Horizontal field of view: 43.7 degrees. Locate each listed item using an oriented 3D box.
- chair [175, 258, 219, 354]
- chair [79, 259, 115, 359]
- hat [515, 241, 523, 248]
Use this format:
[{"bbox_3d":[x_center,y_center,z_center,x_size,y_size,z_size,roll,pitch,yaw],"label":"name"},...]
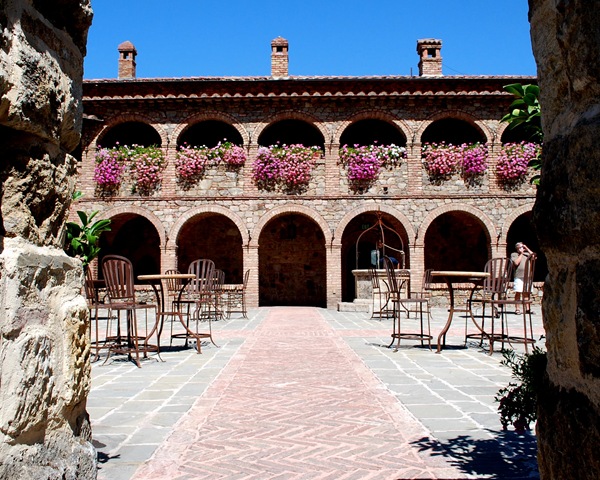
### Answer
[{"bbox_3d":[-1.459,0.824,9.925,0.554,1.145,0.552,-3,-3,44],"label":"chair"},{"bbox_3d":[-2.332,0.787,8.661,0.505,1.077,0.436,4,0,-36],"label":"chair"},{"bbox_3d":[4.653,0.088,15.881,0.178,0.091,0.159,-9,33,29],"label":"hat"}]
